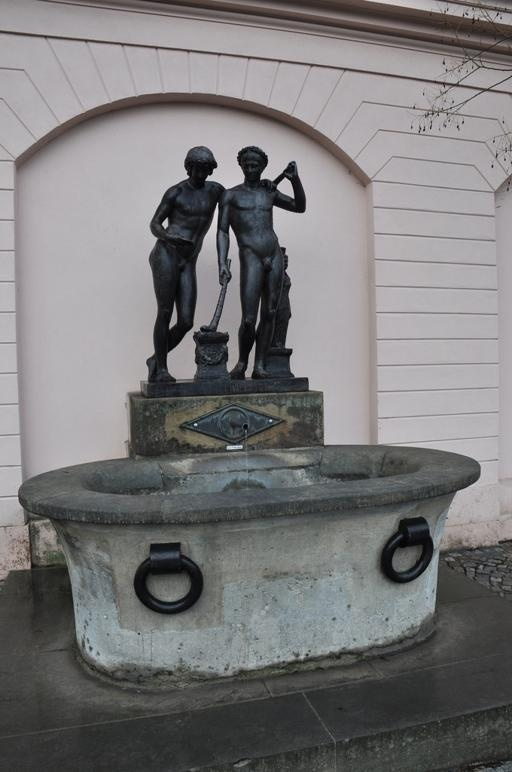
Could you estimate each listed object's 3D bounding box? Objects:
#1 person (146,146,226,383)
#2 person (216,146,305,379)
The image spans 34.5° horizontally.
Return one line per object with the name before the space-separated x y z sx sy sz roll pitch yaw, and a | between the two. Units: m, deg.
person | -0.458 -0.797 5.295 0.517 1.526 0.506 -1 2 -8
person | 0.028 -0.778 5.346 0.560 1.439 0.426 -1 2 3
